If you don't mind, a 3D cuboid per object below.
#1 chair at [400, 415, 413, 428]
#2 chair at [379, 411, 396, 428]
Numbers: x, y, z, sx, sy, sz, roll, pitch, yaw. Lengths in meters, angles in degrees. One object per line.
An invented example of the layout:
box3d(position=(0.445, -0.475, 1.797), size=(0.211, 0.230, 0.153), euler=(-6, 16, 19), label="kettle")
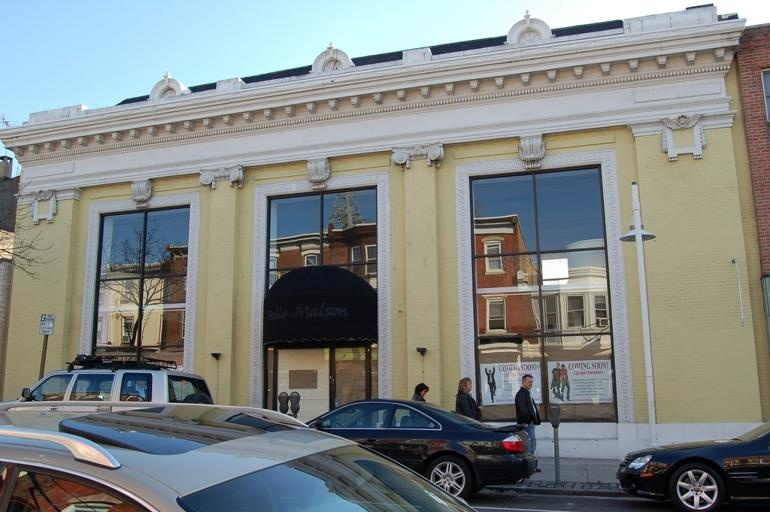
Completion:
box3d(position=(0.516, 3.873, 19.636), size=(0.347, 0.433, 0.228), euler=(0, -37, 4), label="chair")
box3d(position=(0.044, 3.852, 19.643), size=(0.314, 0.400, 0.359), euler=(5, -23, 13), label="chair")
